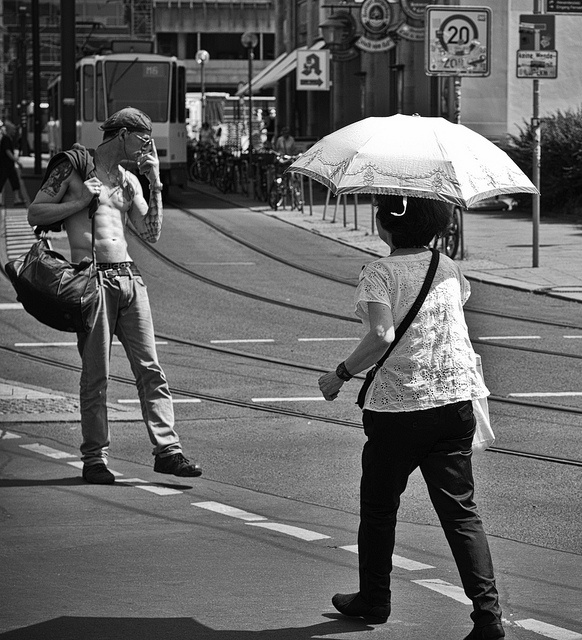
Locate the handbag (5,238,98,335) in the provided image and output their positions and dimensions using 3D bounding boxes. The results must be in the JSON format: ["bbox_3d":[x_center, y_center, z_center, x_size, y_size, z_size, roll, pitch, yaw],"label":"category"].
[{"bbox_3d":[-1.198,-0.178,7.764,0.460,0.447,0.212,3,7,19],"label":"handbag"}]

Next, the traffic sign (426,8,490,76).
[{"bbox_3d":[1.873,-3.158,17.907,0.701,0.816,0.063,4,-20,-5],"label":"traffic sign"}]

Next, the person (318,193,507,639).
[{"bbox_3d":[0.474,0.357,5.923,0.733,1.639,0.488,2,7,16],"label":"person"}]

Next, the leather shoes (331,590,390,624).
[{"bbox_3d":[0.263,1.108,6.094,0.243,0.121,0.093,12,13,33],"label":"leather shoes"}]

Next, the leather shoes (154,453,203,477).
[{"bbox_3d":[-0.585,0.744,8.052,0.246,0.126,0.108,3,4,7],"label":"leather shoes"}]

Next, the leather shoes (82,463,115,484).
[{"bbox_3d":[-0.962,0.772,7.870,0.073,0.082,0.180,1,-9,-32],"label":"leather shoes"}]

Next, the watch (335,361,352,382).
[{"bbox_3d":[0.198,0.195,5.932,0.057,0.073,0.055,45,8,-6],"label":"watch"}]

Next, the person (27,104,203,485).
[{"bbox_3d":[-0.913,-0.132,8.033,0.850,1.891,0.546,-2,7,-18],"label":"person"}]

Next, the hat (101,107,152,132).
[{"bbox_3d":[-0.835,-1.007,7.964,0.187,0.101,0.142,2,7,5],"label":"hat"}]

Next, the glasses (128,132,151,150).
[{"bbox_3d":[-0.761,-0.911,7.977,0.023,0.084,0.076,-5,-8,32],"label":"glasses"}]

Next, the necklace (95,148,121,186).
[{"bbox_3d":[-0.947,-0.778,8.004,0.076,0.188,0.138,1,-5,26],"label":"necklace"}]
